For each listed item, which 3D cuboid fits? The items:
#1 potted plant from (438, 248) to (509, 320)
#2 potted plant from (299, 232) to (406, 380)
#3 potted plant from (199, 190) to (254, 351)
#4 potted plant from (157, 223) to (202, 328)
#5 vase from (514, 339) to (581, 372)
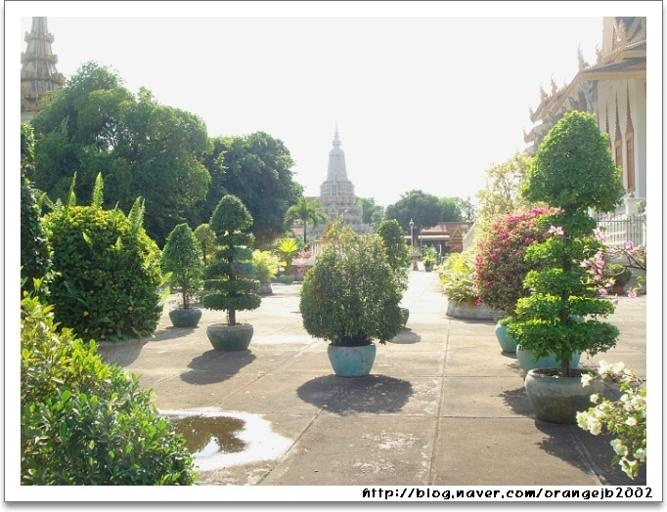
[{"bbox_3d":[4.211,0.839,20.267,1.735,2.209,1.974,-3,9,16],"label":"potted plant"},{"bbox_3d":[0.334,0.872,11.831,1.813,2.664,0.811,0,4,-4],"label":"potted plant"},{"bbox_3d":[-2.505,0.293,15.599,1.276,3.647,2.758,-1,3,-10],"label":"potted plant"},{"bbox_3d":[-4.555,0.560,19.311,1.189,3.110,1.920,-1,3,-13],"label":"potted plant"},{"bbox_3d":[3.522,1.793,10.751,0.820,0.608,0.893,1,-8,-8],"label":"vase"}]
